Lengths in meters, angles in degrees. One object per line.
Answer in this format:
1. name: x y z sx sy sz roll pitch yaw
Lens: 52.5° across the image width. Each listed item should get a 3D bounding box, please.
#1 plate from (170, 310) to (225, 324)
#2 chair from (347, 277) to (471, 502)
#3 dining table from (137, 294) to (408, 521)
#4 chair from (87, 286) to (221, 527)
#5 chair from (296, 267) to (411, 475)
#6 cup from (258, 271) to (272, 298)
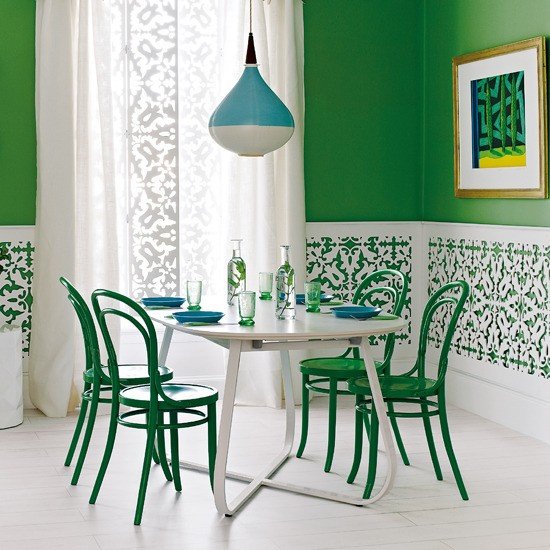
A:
1. plate: -0.303 0.168 2.189 0.184 0.041 0.205 1 -2 -10
2. chair: 0.573 0.496 2.455 0.410 1.025 0.408 4 1 -12
3. dining table: 0.054 0.417 2.249 0.719 0.809 1.013 -2 4 -25
4. chair: -0.476 0.482 2.211 0.411 0.934 0.379 -5 4 -33
5. chair: 0.453 0.521 2.857 0.441 0.987 0.436 19 -22 -37
6. cup: -0.055 0.062 3.042 0.066 0.152 0.174 0 -1 1
